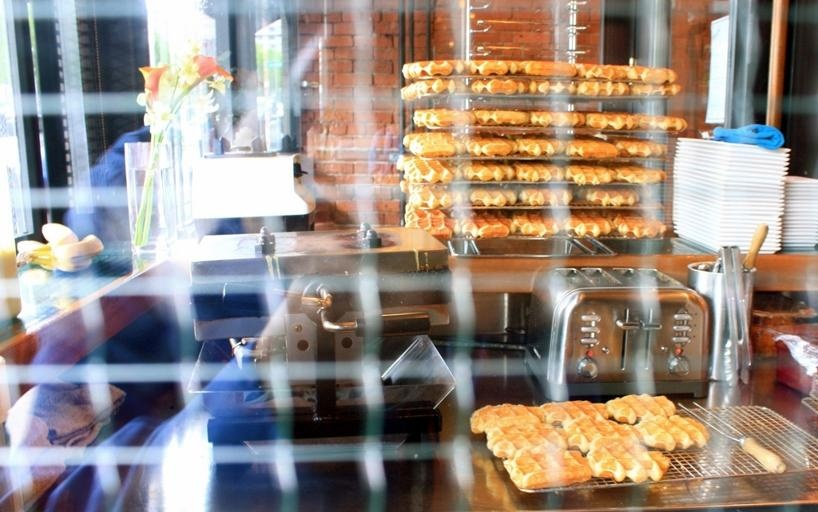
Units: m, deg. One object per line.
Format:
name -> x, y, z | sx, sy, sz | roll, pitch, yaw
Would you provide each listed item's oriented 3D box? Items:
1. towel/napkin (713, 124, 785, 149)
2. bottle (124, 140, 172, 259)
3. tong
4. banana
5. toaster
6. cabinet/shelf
towel/napkin -> 1.180, -0.418, 2.285 | 0.159, 0.053, 0.147 | 1, 5, -3
bottle -> -0.845, -0.183, 2.134 | 0.143, 0.372, 0.074 | -8, 12, -20
tong -> 0.978, 0.180, 1.985 | 0.098, 0.413, 0.112 | 2, 13, 26
banana -> -1.056, -0.021, 1.990 | 0.196, 0.068, 0.176 | 1, 11, -6
toaster -> 0.672, 0.230, 2.145 | 0.582, 0.281, 0.572 | 3, 10, 18
cabinet/shelf -> 0.515, -0.331, 2.633 | 0.861, 0.345, 0.794 | 0, 4, -2
